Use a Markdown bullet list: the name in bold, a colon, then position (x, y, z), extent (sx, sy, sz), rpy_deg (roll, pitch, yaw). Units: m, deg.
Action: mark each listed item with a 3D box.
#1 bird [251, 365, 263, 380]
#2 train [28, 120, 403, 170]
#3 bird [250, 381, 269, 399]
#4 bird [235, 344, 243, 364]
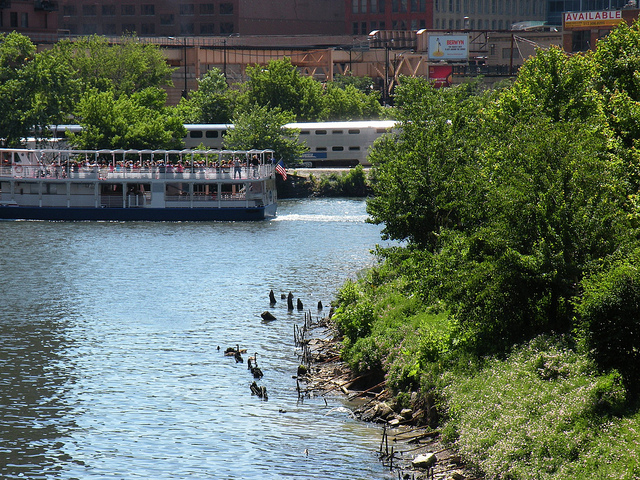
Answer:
- **bird**: position (-4.139, 8.828, 102.840), extent (0.543, 0.264, 0.710), rpy_deg (-3, 39, -13)
- **train**: position (-11.655, -9.967, 159.047), extent (48.400, 7.623, 8.067), rpy_deg (1, 2, 6)
- **bird**: position (-3.776, 9.822, 100.781), extent (1.251, 0.739, 0.493), rpy_deg (35, 28, 32)
- **bird**: position (-5.452, 7.836, 104.816), extent (0.358, 1.056, 0.368), rpy_deg (4, -28, -17)
